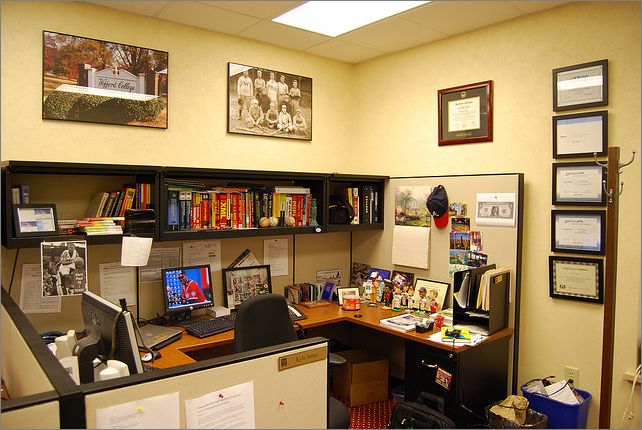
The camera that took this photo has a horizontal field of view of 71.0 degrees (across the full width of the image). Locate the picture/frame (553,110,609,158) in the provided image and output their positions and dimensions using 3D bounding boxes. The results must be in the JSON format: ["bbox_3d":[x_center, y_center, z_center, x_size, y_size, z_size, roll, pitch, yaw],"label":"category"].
[{"bbox_3d":[2.045,-0.629,3.548,0.365,0.360,0.020,1,36,31],"label":"picture/frame"}]

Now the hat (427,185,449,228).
[{"bbox_3d":[1.072,-0.073,4.166,0.217,0.399,0.103,3,5,37],"label":"hat"}]

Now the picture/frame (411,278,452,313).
[{"bbox_3d":[1.032,0.753,4.173,0.034,0.307,0.329,30,-17,-37],"label":"picture/frame"}]

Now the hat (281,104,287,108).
[{"bbox_3d":[-0.381,-1.076,4.460,0.041,0.030,0.041,4,9,11],"label":"hat"}]

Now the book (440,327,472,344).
[{"bbox_3d":[1.089,0.949,3.613,0.220,0.057,0.296,1,4,16],"label":"book"}]

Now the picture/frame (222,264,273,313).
[{"bbox_3d":[-0.682,0.646,3.939,0.417,0.334,0.030,-4,-1,-36],"label":"picture/frame"}]

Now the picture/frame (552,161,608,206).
[{"bbox_3d":[2.055,-0.246,3.527,0.356,0.354,0.024,4,0,39],"label":"picture/frame"}]

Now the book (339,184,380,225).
[{"bbox_3d":[0.394,-0.165,4.671,0.365,0.485,0.495,-3,2,2],"label":"book"}]

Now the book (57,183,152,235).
[{"bbox_3d":[-1.614,-0.023,3.485,0.493,0.291,0.476,-2,2,-32],"label":"book"}]

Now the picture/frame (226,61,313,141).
[{"bbox_3d":[-0.548,-1.101,4.358,0.877,0.579,0.017,1,-1,-31],"label":"picture/frame"}]

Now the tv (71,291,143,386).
[{"bbox_3d":[-1.308,0.704,2.587,0.605,0.419,0.268,6,7,43],"label":"tv"}]

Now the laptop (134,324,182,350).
[{"bbox_3d":[-1.297,0.921,3.477,0.290,0.058,0.302,6,7,34],"label":"laptop"}]

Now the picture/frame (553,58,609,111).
[{"bbox_3d":[2.062,-1.017,3.532,0.457,0.459,0.035,1,-1,38],"label":"picture/frame"}]

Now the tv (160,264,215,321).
[{"bbox_3d":[-1.185,0.662,3.872,0.466,0.457,0.163,2,-8,-37],"label":"tv"}]

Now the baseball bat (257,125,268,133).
[{"bbox_3d":[-0.559,-0.815,4.326,0.068,0.063,0.017,-2,7,-39],"label":"baseball bat"}]

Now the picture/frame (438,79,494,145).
[{"bbox_3d":[1.338,-0.937,4.097,0.626,0.681,0.051,2,1,35],"label":"picture/frame"}]

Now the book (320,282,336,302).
[{"bbox_3d":[0.062,0.786,4.638,0.125,0.170,0.041,4,-19,46],"label":"book"}]

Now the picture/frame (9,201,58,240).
[{"bbox_3d":[-2.065,0.047,3.184,0.257,0.251,0.097,2,-17,-42],"label":"picture/frame"}]

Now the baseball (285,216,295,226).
[{"bbox_3d":[-0.294,0.059,4.141,0.081,0.080,0.080,1,-13,-1],"label":"baseball"}]

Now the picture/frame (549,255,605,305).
[{"bbox_3d":[2.044,0.501,3.556,0.408,0.410,0.030,0,2,40],"label":"picture/frame"}]

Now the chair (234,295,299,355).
[{"bbox_3d":[-0.452,0.751,3.462,0.426,0.684,0.435,-2,-1,-22],"label":"chair"}]

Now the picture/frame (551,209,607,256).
[{"bbox_3d":[2.052,0.130,3.538,0.353,0.354,0.024,4,0,35],"label":"picture/frame"}]
